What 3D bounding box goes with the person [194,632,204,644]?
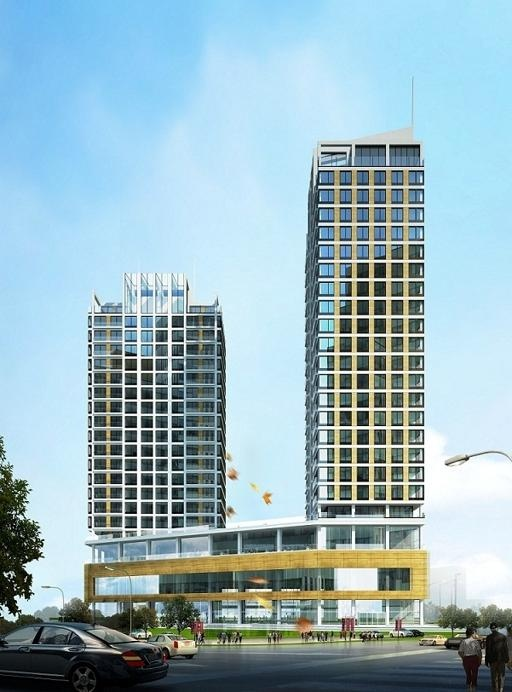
[{"bbox_3d":[-5.145,26.344,165.961,0.680,1.042,1.457,2,-6,1],"label":"person"}]
